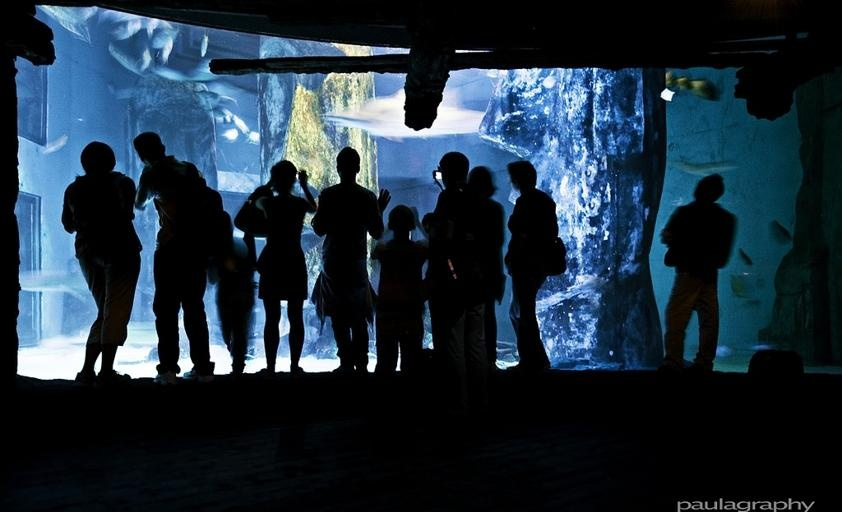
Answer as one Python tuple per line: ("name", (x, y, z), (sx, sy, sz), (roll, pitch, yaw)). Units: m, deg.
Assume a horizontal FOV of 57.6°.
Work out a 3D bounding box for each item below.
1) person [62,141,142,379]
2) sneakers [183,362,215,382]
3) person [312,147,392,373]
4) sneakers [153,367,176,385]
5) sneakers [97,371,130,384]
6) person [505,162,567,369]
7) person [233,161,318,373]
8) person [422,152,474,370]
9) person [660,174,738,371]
("person", (-4.907, 0.088, 11.791), (1.057, 3.673, 0.348), (-1, -5, -2))
("sneakers", (-3.529, 1.810, 12.085), (0.687, 0.263, 0.226), (2, -3, 32))
("person", (-1.118, 0.086, 11.839), (1.078, 3.415, 0.544), (-1, -5, -3))
("sneakers", (-3.953, 1.848, 11.857), (0.224, 0.216, 0.286), (8, 2, -42))
("sneakers", (-4.710, 1.872, 11.747), (0.459, 0.176, 0.188), (5, 15, -23))
("person", (1.825, 0.147, 12.339), (0.898, 3.364, 0.496), (-1, -5, 6))
("person", (-2.199, 0.145, 11.968), (1.139, 3.358, 0.500), (0, -5, -9))
("person", (0.393, -0.070, 11.088), (0.621, 2.881, 0.211), (-1, -5, 3))
("person", (4.422, 0.260, 12.213), (1.148, 3.115, 0.389), (-2, -5, 17))
